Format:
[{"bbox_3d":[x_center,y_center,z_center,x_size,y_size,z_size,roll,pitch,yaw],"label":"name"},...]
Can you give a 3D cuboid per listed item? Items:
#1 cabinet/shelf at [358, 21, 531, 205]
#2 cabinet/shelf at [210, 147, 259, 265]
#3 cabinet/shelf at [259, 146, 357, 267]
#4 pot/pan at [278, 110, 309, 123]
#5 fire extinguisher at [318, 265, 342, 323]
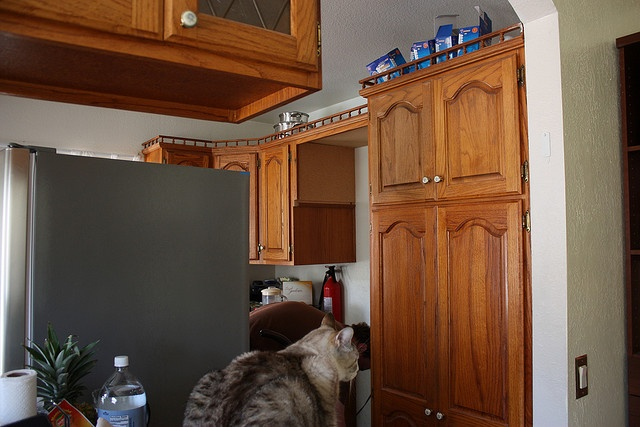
[{"bbox_3d":[0.589,-0.451,2.234,1.047,0.861,0.405,-6,-10,43],"label":"cabinet/shelf"},{"bbox_3d":[-0.610,-0.164,4.155,0.416,1.117,0.494,-2,3,-40],"label":"cabinet/shelf"},{"bbox_3d":[-0.109,-0.077,4.029,0.830,0.981,0.421,-1,-4,-4],"label":"cabinet/shelf"},{"bbox_3d":[-0.229,-0.830,4.147,0.234,0.082,0.214,0,3,-16],"label":"pot/pan"},{"bbox_3d":[0.096,0.692,4.150,0.156,0.501,0.197,-1,6,-34],"label":"fire extinguisher"}]
